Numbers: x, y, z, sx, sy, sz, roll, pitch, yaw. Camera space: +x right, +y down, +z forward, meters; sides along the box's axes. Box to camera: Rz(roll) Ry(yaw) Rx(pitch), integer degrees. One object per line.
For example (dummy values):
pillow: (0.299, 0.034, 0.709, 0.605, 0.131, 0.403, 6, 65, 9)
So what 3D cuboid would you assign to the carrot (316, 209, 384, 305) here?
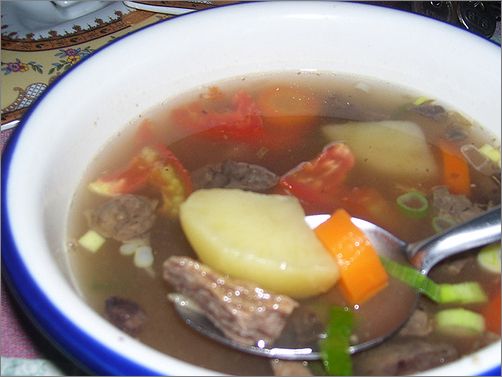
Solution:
carrot: (0.235, 0.161, 1.065, 0.133, 0.183, 0.168, -10, -65, -27)
